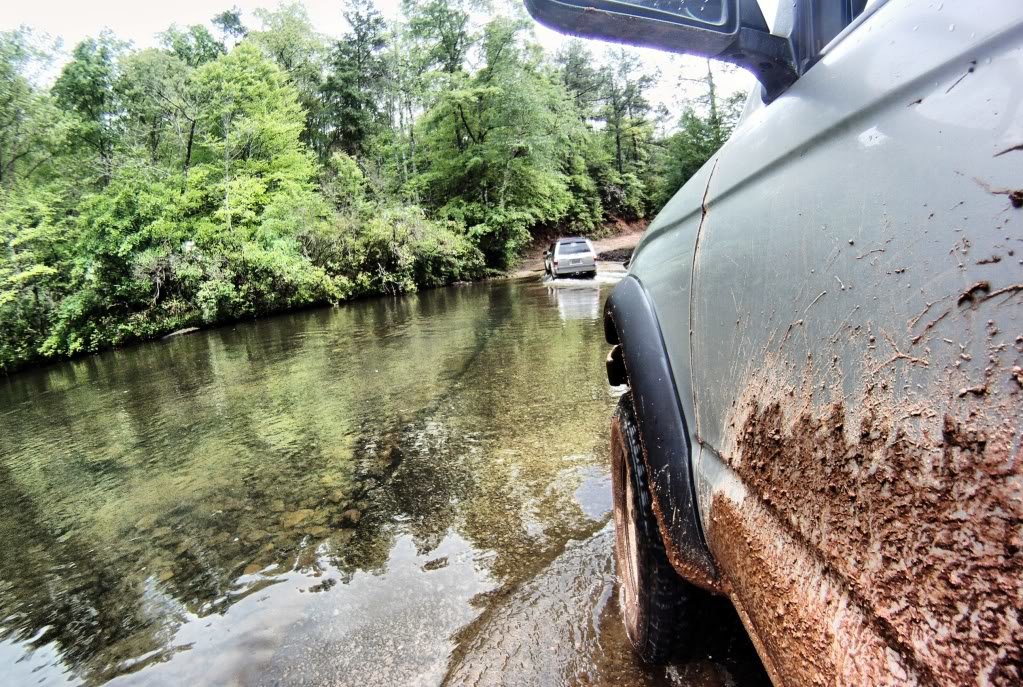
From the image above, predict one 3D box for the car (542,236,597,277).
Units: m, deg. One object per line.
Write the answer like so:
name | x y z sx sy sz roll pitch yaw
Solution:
car | 1.932 -2.840 19.305 1.041 0.945 1.851 -3 23 0
